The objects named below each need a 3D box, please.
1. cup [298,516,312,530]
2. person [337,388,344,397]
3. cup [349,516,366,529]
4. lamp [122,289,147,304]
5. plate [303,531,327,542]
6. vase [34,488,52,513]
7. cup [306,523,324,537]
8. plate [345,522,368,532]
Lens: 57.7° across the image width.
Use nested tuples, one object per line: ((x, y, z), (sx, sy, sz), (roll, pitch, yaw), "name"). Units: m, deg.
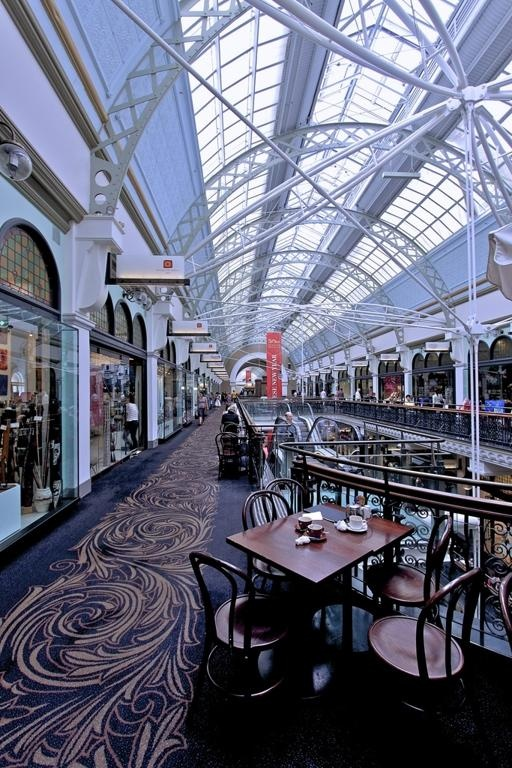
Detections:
((0.327, 0.942, 3.152), (0.068, 0.061, 0.075), (-1, -5, 13), "cup")
((6.305, 0.604, 34.707), (0.310, 1.131, 0.382), (-3, 4, -27), "person")
((0.677, 0.925, 3.103), (0.099, 0.053, 0.068), (2, -6, -2), "cup")
((-2.429, -1.770, 9.307), (0.379, 0.238, 0.630), (1, 2, 24), "lamp")
((0.387, 0.968, 2.983), (0.131, 0.041, 0.162), (0, 2, 6), "plate")
((-2.337, 1.278, 5.081), (0.194, 0.261, 0.193), (4, -8, -17), "vase")
((0.387, 0.941, 3.012), (0.066, 0.063, 0.085), (0, -5, 10), "cup")
((0.677, 0.958, 3.099), (0.080, 0.036, 0.079), (1, -6, 3), "plate")
